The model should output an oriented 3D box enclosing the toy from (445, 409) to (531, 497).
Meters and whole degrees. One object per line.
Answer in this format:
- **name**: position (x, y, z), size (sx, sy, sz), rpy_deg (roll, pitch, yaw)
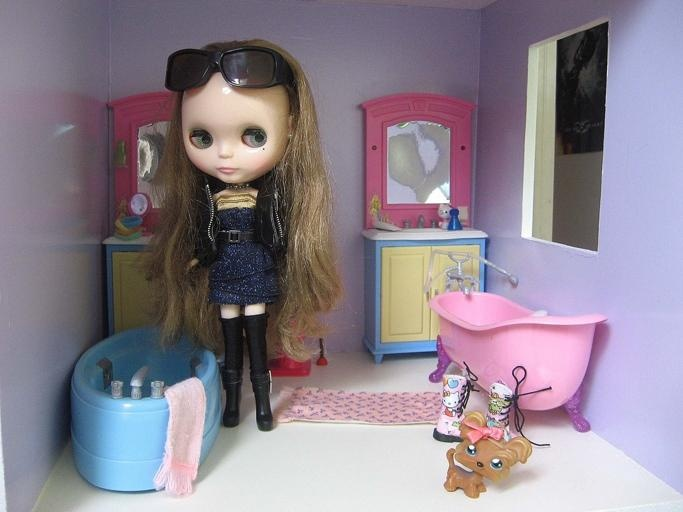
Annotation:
- **toy**: position (0.685, 0.995, 2.596), size (0.366, 0.375, 0.131), rpy_deg (16, 10, 29)
